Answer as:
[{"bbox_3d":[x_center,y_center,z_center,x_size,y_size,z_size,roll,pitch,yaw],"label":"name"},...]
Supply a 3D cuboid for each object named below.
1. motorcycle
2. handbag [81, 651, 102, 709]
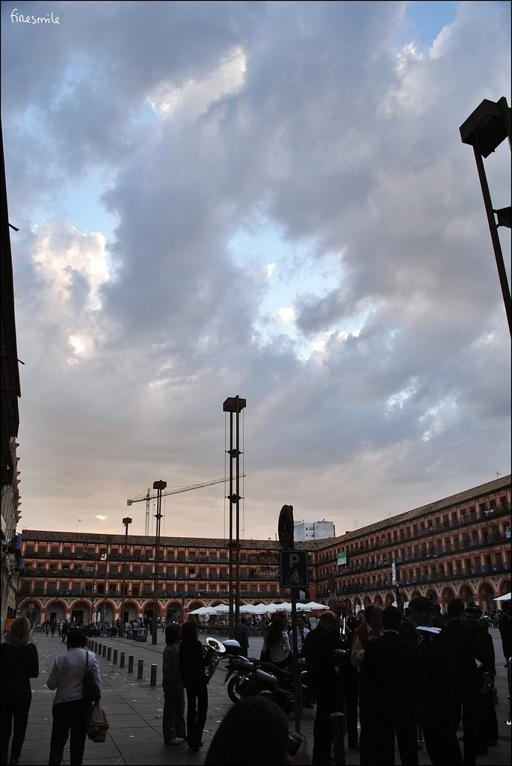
[{"bbox_3d":[0.136,4.552,9.041,1.289,1.079,2.111,-3,-17,3],"label":"motorcycle"},{"bbox_3d":[-1.643,2.989,5.887,0.156,0.492,0.222,2,-16,-13],"label":"handbag"}]
